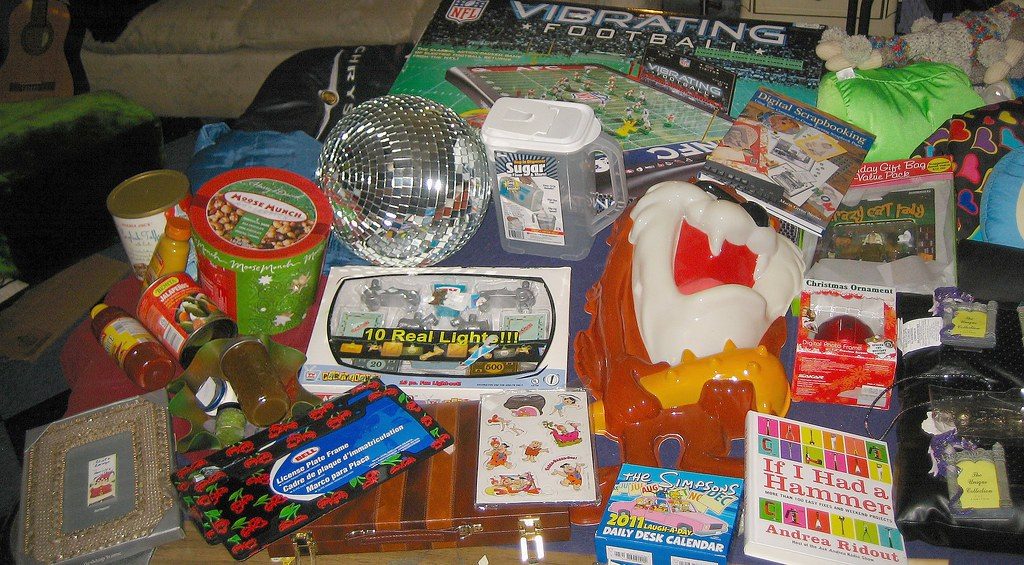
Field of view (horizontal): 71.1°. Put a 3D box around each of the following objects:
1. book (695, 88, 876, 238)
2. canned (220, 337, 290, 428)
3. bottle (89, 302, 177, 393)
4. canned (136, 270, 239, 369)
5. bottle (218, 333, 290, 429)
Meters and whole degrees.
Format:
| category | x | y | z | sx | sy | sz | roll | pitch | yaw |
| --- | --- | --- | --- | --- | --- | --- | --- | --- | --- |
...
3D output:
| category | x | y | z | sx | sy | sz | roll | pitch | yaw |
| --- | --- | --- | --- | --- | --- | --- | --- | --- | --- |
| book | 0.779 | -0.347 | 2.028 | 0.361 | 0.219 | 0.380 | 25 | 44 | 22 |
| canned | -0.642 | 0.253 | 1.765 | 0.099 | 0.096 | 0.200 | 34 | 4 | -43 |
| bottle | -0.971 | 0.172 | 1.847 | 0.141 | 0.134 | 0.237 | -19 | 41 | -13 |
| canned | -0.825 | 0.103 | 1.828 | 0.231 | 0.141 | 0.152 | 30 | 11 | 25 |
| bottle | -0.643 | 0.253 | 1.768 | 0.106 | 0.100 | 0.209 | 24 | 12 | -42 |
